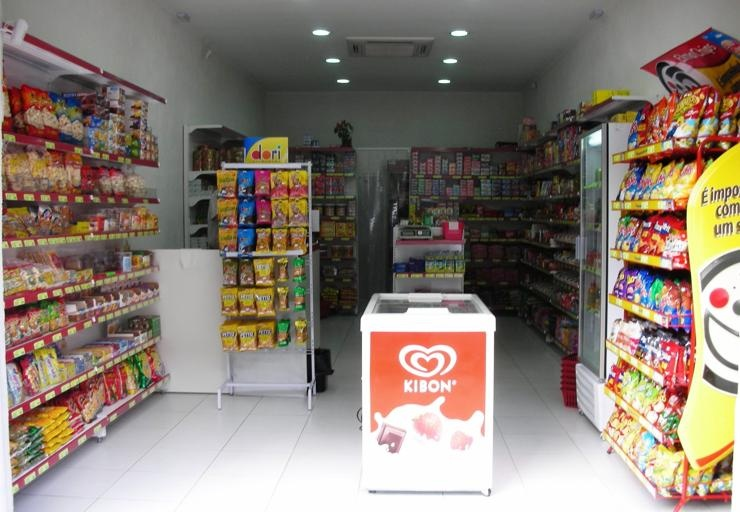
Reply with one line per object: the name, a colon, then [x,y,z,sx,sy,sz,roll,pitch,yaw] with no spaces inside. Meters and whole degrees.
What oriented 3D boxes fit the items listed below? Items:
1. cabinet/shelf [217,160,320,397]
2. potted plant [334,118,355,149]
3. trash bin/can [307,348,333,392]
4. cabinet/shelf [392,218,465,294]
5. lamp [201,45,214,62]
cabinet/shelf: [-1.120,0.243,5.226,1.006,2.523,0.735,-2,0,4]
potted plant: [-0.503,-2.375,9.482,0.559,0.720,0.534,-2,4,-4]
trash bin/can: [-0.519,1.350,5.720,0.389,0.461,0.440,-1,1,0]
cabinet/shelf: [0.814,-0.042,6.795,0.908,1.104,0.352,0,-17,15]
lamp: [-2.500,-3.102,7.423,0.263,0.127,0.364,-3,-1,-18]
